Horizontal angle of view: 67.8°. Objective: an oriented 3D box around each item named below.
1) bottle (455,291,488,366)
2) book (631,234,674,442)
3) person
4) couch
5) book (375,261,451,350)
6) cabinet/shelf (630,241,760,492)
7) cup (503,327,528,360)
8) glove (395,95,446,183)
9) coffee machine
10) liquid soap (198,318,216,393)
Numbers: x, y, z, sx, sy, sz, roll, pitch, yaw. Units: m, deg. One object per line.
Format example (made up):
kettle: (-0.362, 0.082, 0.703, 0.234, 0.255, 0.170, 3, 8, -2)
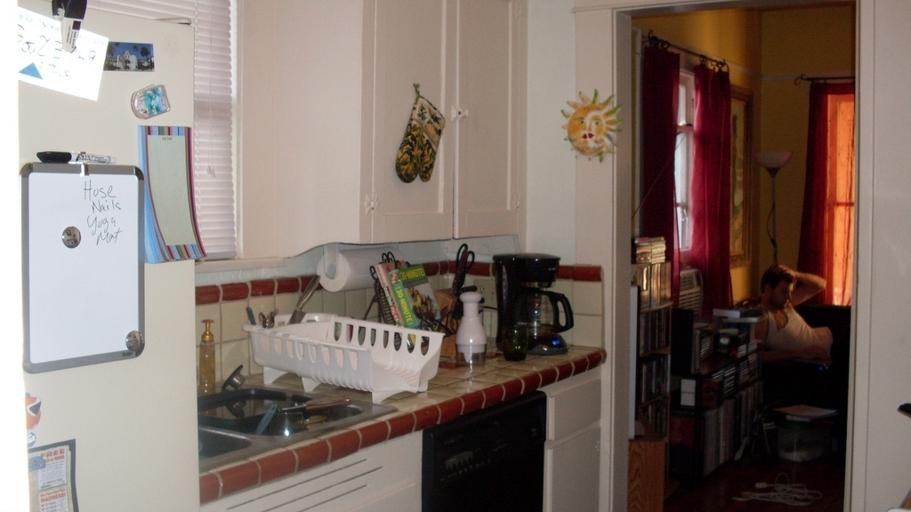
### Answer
bottle: (0.062, 0.326, 3.130, 0.133, 0.327, 0.168, -4, 6, 0)
book: (1.158, 0.477, 4.014, 0.164, 1.166, 0.642, -1, 6, 24)
person: (2.731, 0.489, 5.575, 0.935, 0.833, 0.622, -3, 4, -29)
couch: (2.693, 0.832, 5.663, 0.968, 1.323, 0.964, -1, -4, 28)
book: (-0.212, 0.203, 3.106, 0.081, 0.343, 0.338, -33, -24, 35)
cabinet/shelf: (1.768, 0.739, 4.988, 0.591, 1.476, 1.541, -4, -1, 38)
cup: (0.288, 0.419, 3.240, 0.143, 0.153, 0.137, 0, -8, 0)
glove: (-0.156, -0.508, 3.004, 0.053, 0.362, 0.214, 4, -10, 35)
coffee machine: (0.383, 0.230, 3.372, 0.397, 0.486, 0.308, -3, 6, 10)
liquid soap: (-1.002, 0.400, 2.725, 0.058, 0.289, 0.081, -4, 6, -3)
